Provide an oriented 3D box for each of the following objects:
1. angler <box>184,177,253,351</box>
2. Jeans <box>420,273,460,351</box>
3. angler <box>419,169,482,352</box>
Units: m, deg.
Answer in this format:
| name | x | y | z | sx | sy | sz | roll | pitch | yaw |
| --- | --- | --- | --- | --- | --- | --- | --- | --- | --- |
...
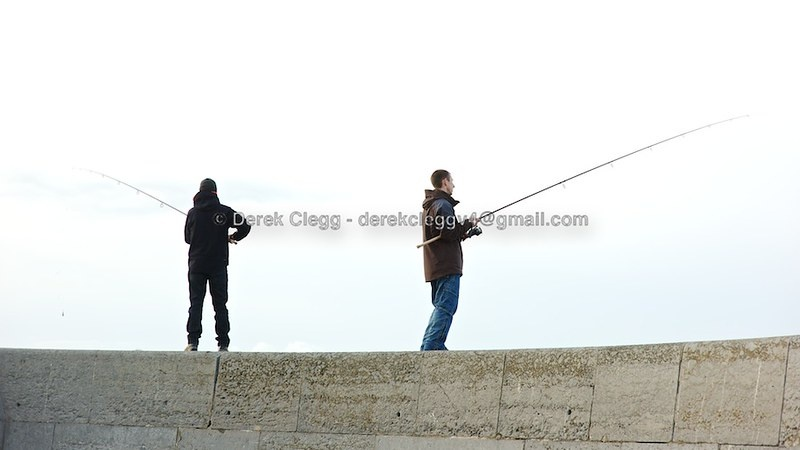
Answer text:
| name | x | y | z | sx | sy | sz | roll | pitch | yaw |
| --- | --- | --- | --- | --- | --- | --- | --- | --- | --- |
| angler | -1.677 | 0.366 | 9.436 | 0.657 | 1.550 | 0.453 | 1 | -2 | -11 |
| Jeans | 0.350 | 0.691 | 8.339 | 0.300 | 0.853 | 0.301 | 16 | -23 | -35 |
| angler | 0.370 | 0.259 | 8.249 | 0.553 | 1.483 | 0.535 | 0 | -1 | -6 |
